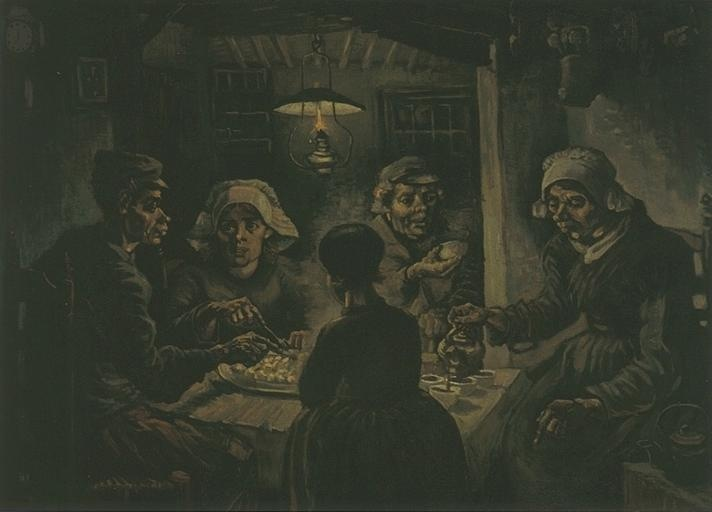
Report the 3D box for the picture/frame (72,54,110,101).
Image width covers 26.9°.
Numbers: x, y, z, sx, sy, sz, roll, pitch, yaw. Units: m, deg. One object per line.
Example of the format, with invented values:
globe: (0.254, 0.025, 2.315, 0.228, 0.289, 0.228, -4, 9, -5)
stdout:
picture/frame: (-3.198, -2.136, 17.960, 0.515, 0.480, 0.117, -3, 4, -1)
